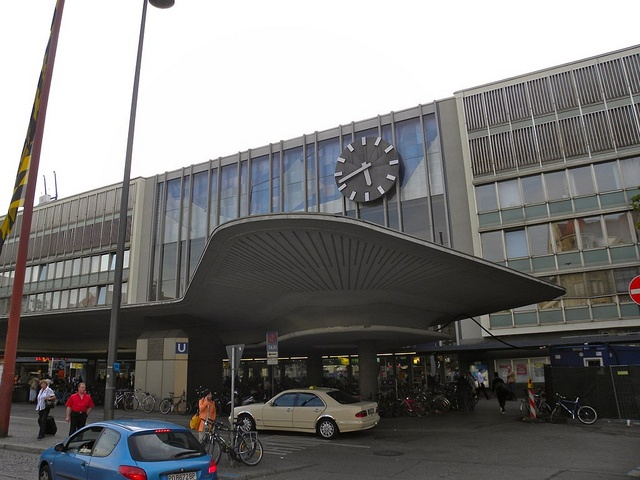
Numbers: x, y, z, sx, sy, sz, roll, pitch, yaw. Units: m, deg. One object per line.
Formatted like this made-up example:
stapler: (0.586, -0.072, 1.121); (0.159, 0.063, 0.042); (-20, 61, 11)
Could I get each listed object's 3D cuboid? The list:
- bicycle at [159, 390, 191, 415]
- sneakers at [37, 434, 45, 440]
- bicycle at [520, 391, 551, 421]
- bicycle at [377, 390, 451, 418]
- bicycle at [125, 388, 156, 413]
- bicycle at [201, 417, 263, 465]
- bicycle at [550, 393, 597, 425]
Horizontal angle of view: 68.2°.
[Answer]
bicycle: (-7.232, 8.302, 23.503); (1.814, 1.134, 0.902); (-4, -25, 14)
sneakers: (-9.011, 6.558, 15.249); (0.138, 0.112, 0.336); (10, -13, -25)
bicycle: (8.254, 6.661, 18.350); (1.712, 1.029, 0.797); (10, -35, -22)
bicycle: (4.083, 7.460, 20.996); (3.022, 1.090, 1.264); (-2, -17, -6)
bicycle: (-9.277, 8.465, 24.412); (2.184, 1.259, 0.519); (-19, -23, 40)
bicycle: (-2.183, 5.462, 12.250); (1.808, 0.982, 0.893); (2, -31, 6)
bicycle: (9.172, 6.384, 17.407); (1.593, 0.952, 0.691); (-5, -16, 13)
